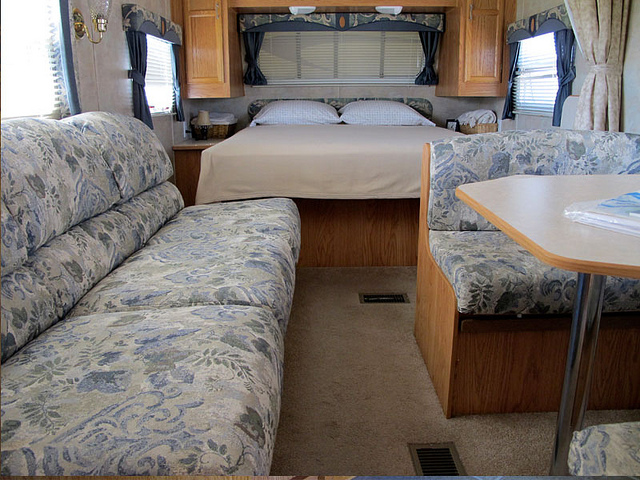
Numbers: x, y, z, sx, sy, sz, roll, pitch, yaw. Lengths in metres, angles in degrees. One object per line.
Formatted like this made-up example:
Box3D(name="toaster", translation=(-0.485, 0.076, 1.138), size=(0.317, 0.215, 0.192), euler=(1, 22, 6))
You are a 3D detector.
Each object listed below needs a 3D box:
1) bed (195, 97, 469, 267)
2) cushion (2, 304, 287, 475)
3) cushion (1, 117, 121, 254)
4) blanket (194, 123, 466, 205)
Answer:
Box3D(name="bed", translation=(0.178, -0.611, 4.196), size=(2.102, 1.199, 2.165), euler=(2, 18, 10))
Box3D(name="cushion", translation=(-0.467, 0.389, 1.232), size=(0.704, 0.207, 0.628), euler=(-1, 15, -3))
Box3D(name="cushion", translation=(-0.909, -0.178, 1.656), size=(0.206, 0.209, 0.545), euler=(4, 14, -6))
Box3D(name="blanket", translation=(-0.104, -0.558, 3.833), size=(1.864, 0.360, 1.380), euler=(-2, 11, -11))
